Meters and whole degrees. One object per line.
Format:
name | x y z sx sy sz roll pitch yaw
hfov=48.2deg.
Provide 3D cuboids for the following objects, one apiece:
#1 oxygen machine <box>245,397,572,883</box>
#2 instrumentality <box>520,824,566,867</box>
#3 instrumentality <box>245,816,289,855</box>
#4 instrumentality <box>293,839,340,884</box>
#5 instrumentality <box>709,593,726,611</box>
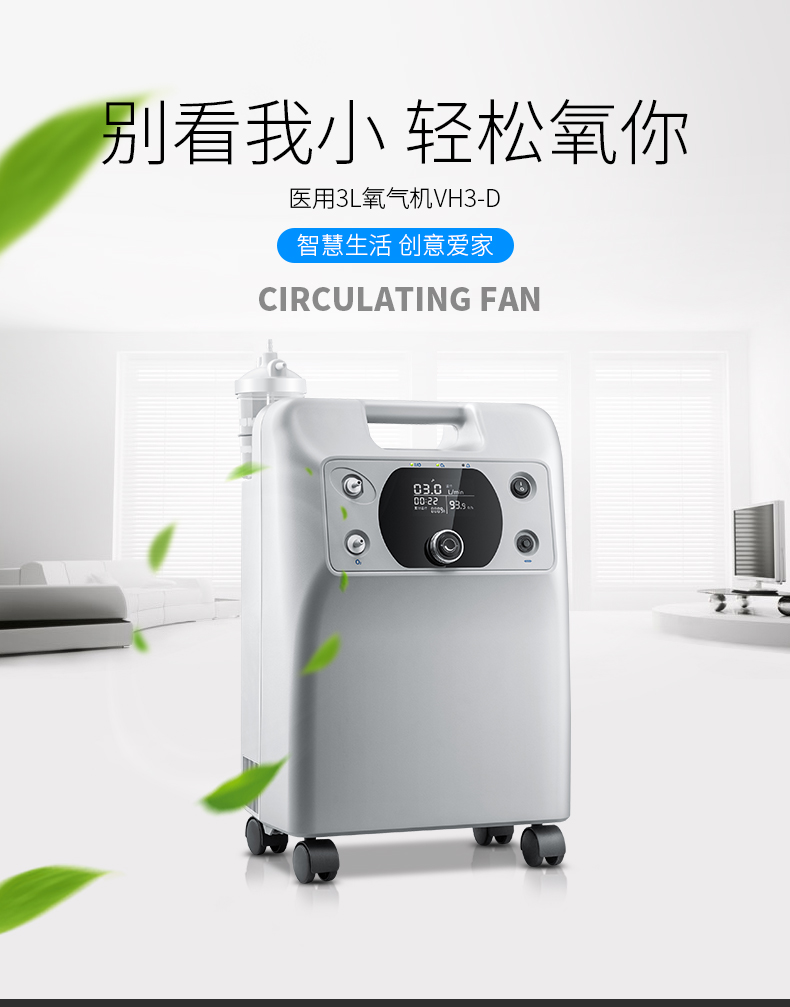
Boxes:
oxygen machine | 0.090 0.284 1.931 0.569 0.994 0.527 1 -11 -1
instrumentality | 0.300 0.685 1.776 0.091 0.095 0.084 14 -18 -40
instrumentality | -0.260 0.706 1.903 0.080 0.089 0.094 18 -30 -42
instrumentality | -0.143 0.668 1.709 0.085 0.087 0.079 1 -9 -44
instrumentality | 2.972 0.888 8.066 0.170 0.210 0.175 1 -6 0
